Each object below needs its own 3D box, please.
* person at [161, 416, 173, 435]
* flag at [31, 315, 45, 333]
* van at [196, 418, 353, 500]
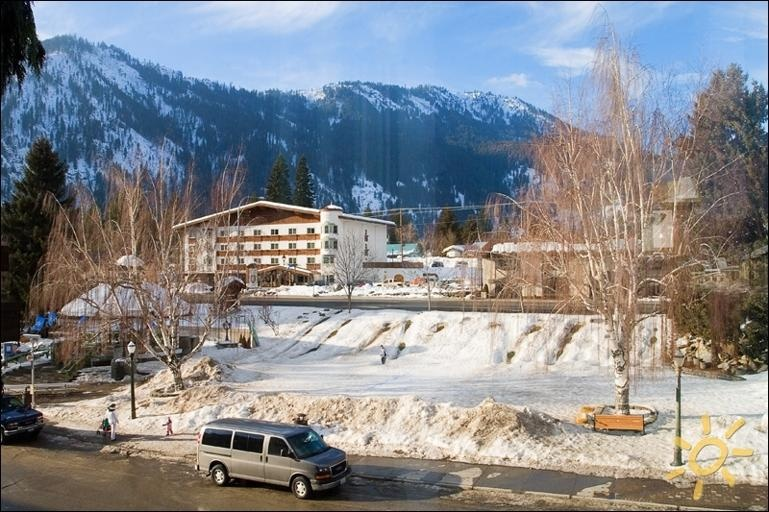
[{"bbox_3d":[-11.468,8.716,38.108,0.479,0.877,1.427,-5,10,-18],"label":"person"},{"bbox_3d":[-26.373,5.077,54.786,0.770,1.487,1.440,-9,12,-36],"label":"flag"},{"bbox_3d":[-5.047,9.006,33.007,6.078,2.677,3.175,-2,-2,24],"label":"van"}]
